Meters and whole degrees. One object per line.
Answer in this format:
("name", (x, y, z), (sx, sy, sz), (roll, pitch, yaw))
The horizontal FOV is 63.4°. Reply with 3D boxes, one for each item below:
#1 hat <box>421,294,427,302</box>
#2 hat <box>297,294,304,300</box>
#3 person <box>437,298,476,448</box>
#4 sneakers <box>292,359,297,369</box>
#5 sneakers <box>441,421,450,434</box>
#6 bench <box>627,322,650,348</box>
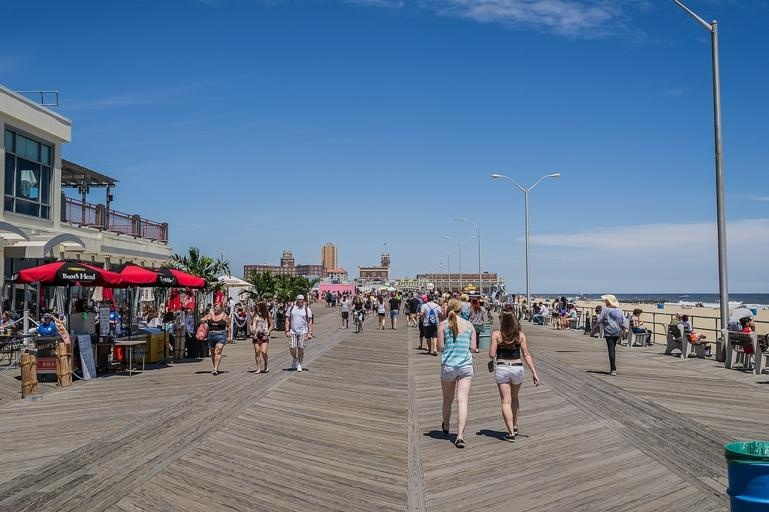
("hat", (1.637, 1.743, 25.150), (0.203, 0.220, 0.275), (1, 6, 4))
("hat", (-2.345, 1.160, 17.473), (0.152, 0.158, 0.206), (1, -11, -8))
("person", (1.387, 2.233, 11.945), (0.716, 2.786, 0.915), (-1, -5, 1))
("sneakers", (-2.763, 3.411, 19.345), (0.171, 0.190, 0.503), (3, -38, -1))
("sneakers", (1.235, 3.444, 12.431), (0.207, 0.225, 0.580), (0, -16, 1))
("bench", (10.687, 3.408, 26.357), (0.981, 1.023, 0.913), (-2, -3, 37))
